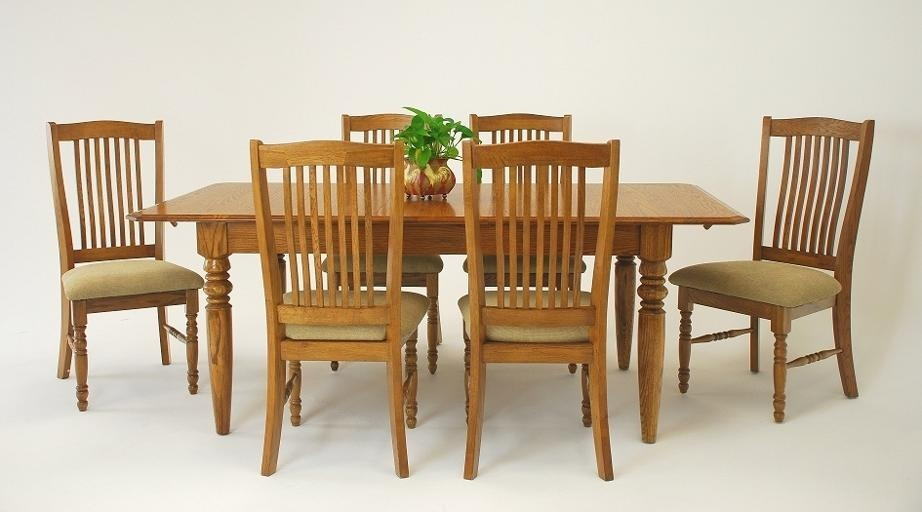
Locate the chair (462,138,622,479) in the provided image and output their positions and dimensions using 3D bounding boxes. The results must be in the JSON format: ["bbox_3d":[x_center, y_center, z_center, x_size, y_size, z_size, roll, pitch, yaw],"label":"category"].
[{"bbox_3d":[0.440,0.250,4.307,0.911,1.852,0.929,-2,13,3],"label":"chair"}]

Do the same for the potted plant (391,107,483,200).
[{"bbox_3d":[-0.201,-0.657,4.732,0.639,0.525,0.569,0,9,-4],"label":"potted plant"}]
